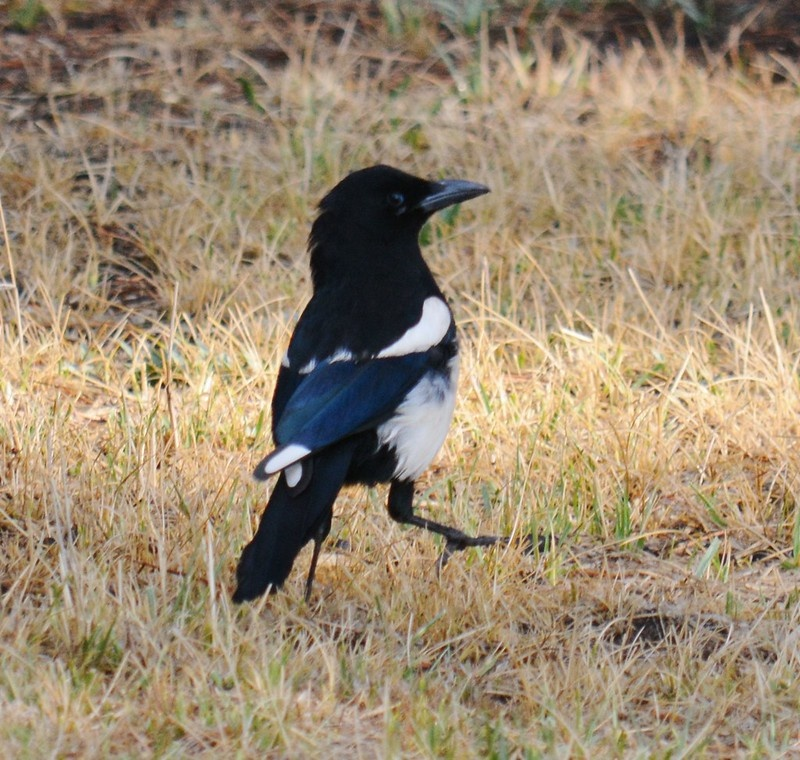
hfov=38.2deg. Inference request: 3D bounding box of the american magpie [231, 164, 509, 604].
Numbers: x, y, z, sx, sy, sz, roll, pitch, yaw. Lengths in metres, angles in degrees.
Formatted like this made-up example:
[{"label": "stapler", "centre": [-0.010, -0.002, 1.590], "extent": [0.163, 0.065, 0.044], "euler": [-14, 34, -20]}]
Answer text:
[{"label": "american magpie", "centre": [-0.062, 0.056, 3.350], "extent": [0.645, 1.116, 1.039], "euler": [19, 18, -7]}]
